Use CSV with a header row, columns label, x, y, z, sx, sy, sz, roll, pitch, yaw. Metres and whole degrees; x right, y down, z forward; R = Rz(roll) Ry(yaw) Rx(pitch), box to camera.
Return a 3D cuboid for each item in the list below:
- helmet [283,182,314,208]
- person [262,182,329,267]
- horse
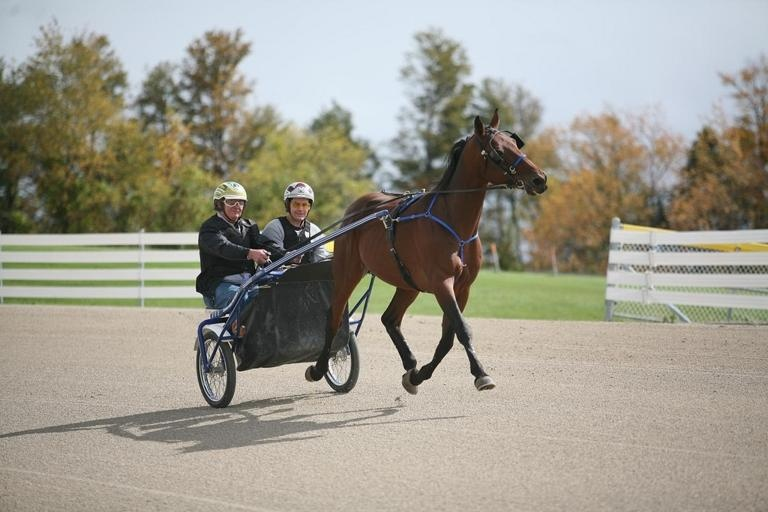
label,x,y,z,sx,sy,sz,roll,pitch,yaw
helmet,-1.386,-1.015,16.796,0.397,0.445,0.508,2,9,-10
person,-1.371,-0.421,16.800,0.929,1.424,0.769,-2,-17,-5
horse,0.515,0.152,16.309,1.209,4.017,4.908,6,-10,-35
